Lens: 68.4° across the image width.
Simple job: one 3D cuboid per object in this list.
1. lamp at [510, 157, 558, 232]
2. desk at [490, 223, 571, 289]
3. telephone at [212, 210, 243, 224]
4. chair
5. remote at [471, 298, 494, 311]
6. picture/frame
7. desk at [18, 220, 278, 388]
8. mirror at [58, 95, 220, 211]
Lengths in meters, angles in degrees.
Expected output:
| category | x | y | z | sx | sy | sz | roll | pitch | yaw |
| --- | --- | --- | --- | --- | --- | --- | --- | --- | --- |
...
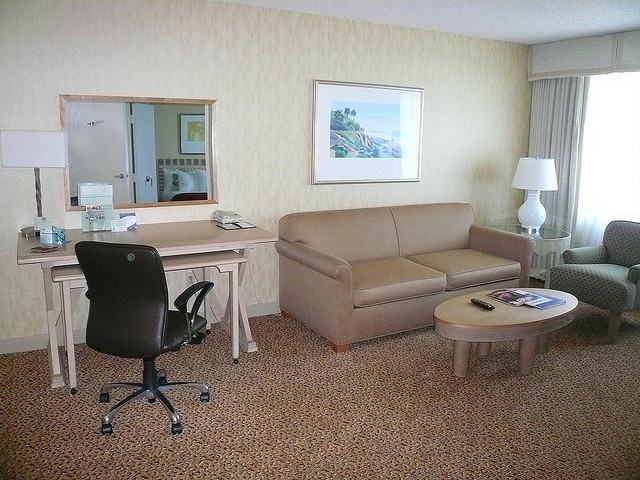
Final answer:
| category | x | y | z | sx | sy | sz | roll | pitch | yaw |
| --- | --- | --- | --- | --- | --- | --- | --- | --- | --- |
| lamp | 2.529 | -0.554 | 5.564 | 0.494 | 0.875 | 0.494 | 8 | 14 | 31 |
| desk | 2.327 | 0.086 | 5.463 | 0.642 | 0.682 | 0.639 | -16 | -28 | 37 |
| telephone | -0.878 | -0.219 | 4.356 | 0.150 | 0.080 | 0.201 | -9 | 19 | -43 |
| chair | -1.234 | 0.617 | 3.352 | 0.888 | 1.266 | 0.819 | 7 | 8 | 28 |
| remote | 1.309 | 0.512 | 3.780 | 0.071 | 0.035 | 0.144 | -6 | 12 | -31 |
| picture/frame | 0.463 | -1.209 | 5.101 | 1.188 | 0.877 | 0.044 | -3 | 12 | -26 |
| desk | -1.462 | 0.312 | 4.118 | 1.798 | 0.892 | 0.965 | 11 | 47 | -13 |
| mirror | -1.573 | -0.748 | 4.137 | 1.266 | 0.968 | 0.128 | 2 | 18 | 4 |
